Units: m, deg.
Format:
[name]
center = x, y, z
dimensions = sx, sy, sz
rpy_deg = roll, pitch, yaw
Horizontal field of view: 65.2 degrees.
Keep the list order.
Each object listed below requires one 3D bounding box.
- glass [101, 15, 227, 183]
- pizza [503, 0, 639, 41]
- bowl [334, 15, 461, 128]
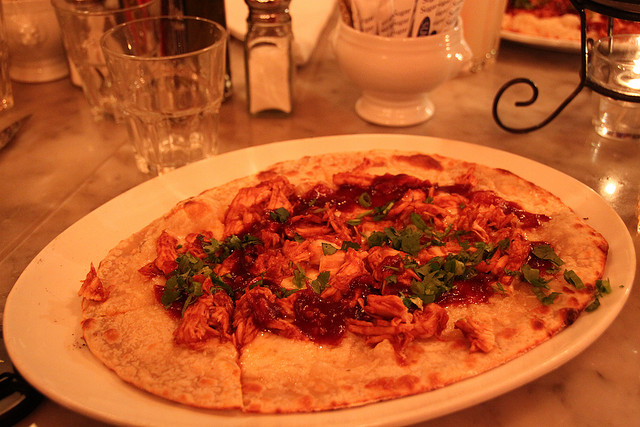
[glass]
center = -0.515, -0.380, 1.639
dimensions = 0.367, 0.500, 0.367
rpy_deg = 16, 45, 15
[pizza]
center = 1.070, -0.818, 2.137
dimensions = 0.356, 0.051, 0.351
rpy_deg = -3, 31, -4
[bowl]
center = 0.267, -0.563, 1.943
dimensions = 0.453, 0.360, 0.443
rpy_deg = -1, 33, 1
